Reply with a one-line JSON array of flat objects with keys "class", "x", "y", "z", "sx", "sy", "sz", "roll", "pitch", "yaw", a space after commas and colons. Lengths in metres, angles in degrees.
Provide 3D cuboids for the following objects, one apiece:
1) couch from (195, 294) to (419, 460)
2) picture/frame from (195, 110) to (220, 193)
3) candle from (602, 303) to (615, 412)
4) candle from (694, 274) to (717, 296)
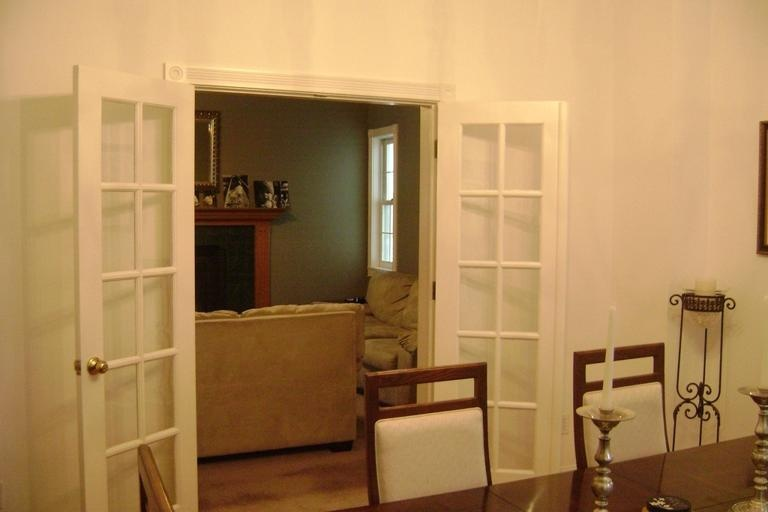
[{"class": "couch", "x": -0.852, "y": 0.863, "z": 5.453, "sx": 1.929, "sy": 1.294, "sz": 1.030, "roll": -1, "pitch": 4, "yaw": -16}, {"class": "picture/frame", "x": -2.294, "y": -1.381, "z": 8.599, "sx": 0.309, "sy": 1.055, "sz": 0.124, "roll": -1, "pitch": 7, "yaw": -10}, {"class": "candle", "x": 0.844, "y": 0.364, "z": 2.454, "sx": 0.040, "sy": 0.382, "sz": 0.326, "roll": 3, "pitch": 8, "yaw": 20}, {"class": "candle", "x": 2.271, "y": 0.216, "z": 4.630, "sx": 0.127, "sy": 0.115, "sz": 0.080, "roll": 3, "pitch": 7, "yaw": 18}]
